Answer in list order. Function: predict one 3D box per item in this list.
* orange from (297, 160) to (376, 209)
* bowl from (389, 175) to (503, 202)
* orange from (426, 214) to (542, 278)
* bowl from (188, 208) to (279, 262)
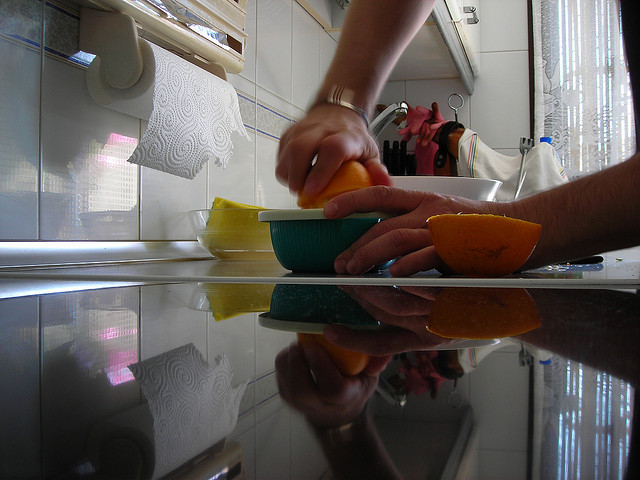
[{"bbox_3d":[0.021,-0.081,0.638,0.092,0.082,0.080,-32,85,-33],"label":"orange"},{"bbox_3d":[0.259,-0.107,0.839,0.131,0.131,0.035,2,93,-18],"label":"bowl"},{"bbox_3d":[0.208,0.004,0.531,0.137,0.153,0.093,0,99,14],"label":"orange"},{"bbox_3d":[-0.204,-0.002,0.961,0.150,0.161,0.074,-2,84,18],"label":"bowl"}]
